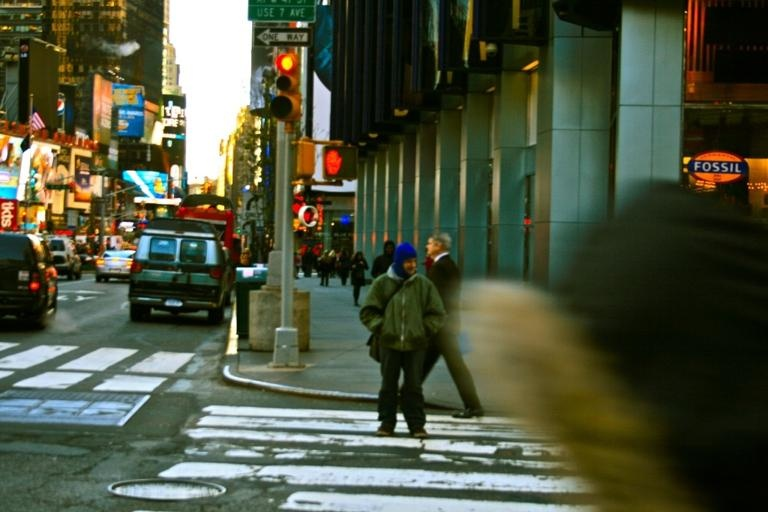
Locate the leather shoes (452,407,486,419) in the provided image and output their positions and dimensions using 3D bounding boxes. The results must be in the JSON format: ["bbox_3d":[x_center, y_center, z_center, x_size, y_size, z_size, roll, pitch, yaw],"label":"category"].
[{"bbox_3d":[0.994,1.846,10.431,0.365,0.170,0.141,4,1,9],"label":"leather shoes"}]

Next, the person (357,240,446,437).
[{"bbox_3d":[0.193,0.885,9.452,0.864,2.021,0.405,1,3,6],"label":"person"}]

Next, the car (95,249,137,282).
[{"bbox_3d":[-10.844,0.444,36.317,1.108,0.953,2.759,1,5,2],"label":"car"}]

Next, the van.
[{"bbox_3d":[-4.714,0.287,21.330,1.540,1.698,2.945,1,5,0],"label":"van"}]

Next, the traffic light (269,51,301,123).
[{"bbox_3d":[-1.507,-2.684,13.884,0.433,1.188,0.789,1,3,-7],"label":"traffic light"}]

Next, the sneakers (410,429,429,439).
[{"bbox_3d":[0.374,1.869,9.300,0.070,0.092,0.197,2,-13,-11],"label":"sneakers"}]

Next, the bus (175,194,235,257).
[{"bbox_3d":[-8.174,-1.925,41.770,2.365,3.314,6.300,2,3,-3],"label":"bus"}]

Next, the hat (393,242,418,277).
[{"bbox_3d":[0.213,0.047,9.478,0.226,0.359,0.285,1,3,-10],"label":"hat"}]

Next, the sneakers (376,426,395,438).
[{"bbox_3d":[0.020,1.856,9.386,0.075,0.101,0.214,4,4,29],"label":"sneakers"}]
